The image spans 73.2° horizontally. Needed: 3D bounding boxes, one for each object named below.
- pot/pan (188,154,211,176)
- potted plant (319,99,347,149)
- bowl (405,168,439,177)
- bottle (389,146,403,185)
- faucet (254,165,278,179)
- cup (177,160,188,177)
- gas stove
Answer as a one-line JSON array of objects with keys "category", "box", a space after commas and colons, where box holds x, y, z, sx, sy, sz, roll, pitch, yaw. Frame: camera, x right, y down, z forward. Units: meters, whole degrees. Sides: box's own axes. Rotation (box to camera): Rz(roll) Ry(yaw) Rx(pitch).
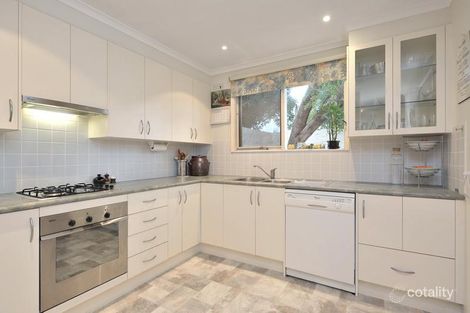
[{"category": "pot/pan", "box": [-0.588, 0.118, 5.178, 0.383, 0.291, 0.312, 0, 3, -38]}, {"category": "potted plant", "box": [1.414, -0.471, 4.563, 0.298, 0.719, 0.258, -3, 2, 15]}, {"category": "bowl", "box": [2.248, 0.181, 3.813, 0.331, 0.109, 0.132, -3, 2, 29]}, {"category": "bottle", "box": [2.066, 0.106, 4.069, 0.158, 0.469, 0.154, -4, 2, 0]}, {"category": "faucet", "box": [0.449, 0.232, 4.859, 0.415, 0.216, 0.164, -2, 2, 38]}, {"category": "cup", "box": [-0.826, 0.172, 5.106, 0.120, 0.209, 0.255, -3, 2, 30]}, {"category": "gas stove", "box": [-1.920, 0.372, 3.628, 0.923, 0.158, 0.510, -4, 1, -41]}]
